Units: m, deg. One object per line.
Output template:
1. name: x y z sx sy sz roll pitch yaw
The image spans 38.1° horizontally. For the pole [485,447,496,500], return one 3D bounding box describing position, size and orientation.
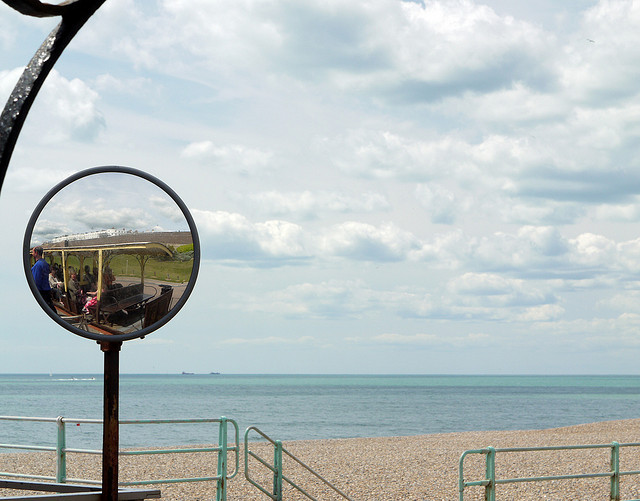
1. pole: 4.154 5.425 22.571 0.210 1.332 0.747 1 -6 9
